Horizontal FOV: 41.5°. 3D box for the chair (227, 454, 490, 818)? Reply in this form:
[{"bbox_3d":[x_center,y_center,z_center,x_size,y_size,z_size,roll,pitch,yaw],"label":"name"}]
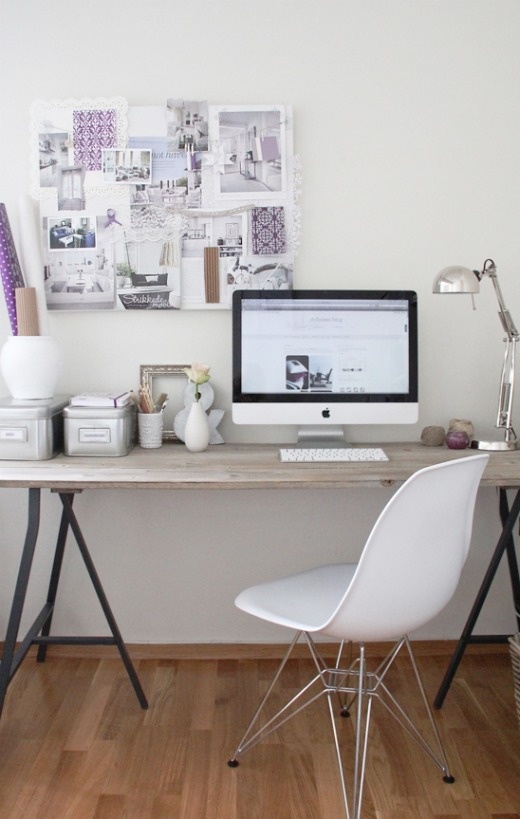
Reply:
[{"bbox_3d":[0.187,0.480,1.612,0.529,0.837,0.666,0,6,0],"label":"chair"}]

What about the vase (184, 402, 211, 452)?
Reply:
[{"bbox_3d":[-0.185,0.049,1.981,0.073,0.143,0.078,2,14,5],"label":"vase"}]

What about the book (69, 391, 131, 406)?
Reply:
[{"bbox_3d":[-0.421,-0.028,1.936,0.121,0.031,0.222,4,8,32],"label":"book"}]

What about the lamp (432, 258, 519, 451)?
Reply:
[{"bbox_3d":[0.650,-0.174,2.058,0.266,0.569,0.439,1,7,14],"label":"lamp"}]

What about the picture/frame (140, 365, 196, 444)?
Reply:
[{"bbox_3d":[-0.283,-0.016,2.082,0.216,0.336,0.024,0,3,-3],"label":"picture/frame"}]
